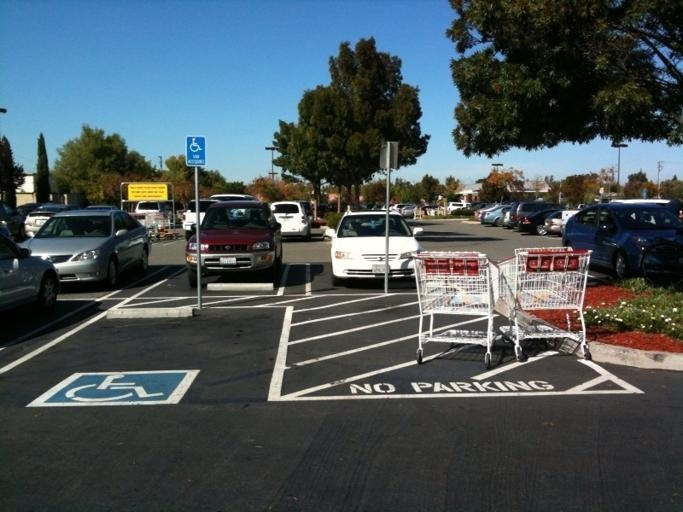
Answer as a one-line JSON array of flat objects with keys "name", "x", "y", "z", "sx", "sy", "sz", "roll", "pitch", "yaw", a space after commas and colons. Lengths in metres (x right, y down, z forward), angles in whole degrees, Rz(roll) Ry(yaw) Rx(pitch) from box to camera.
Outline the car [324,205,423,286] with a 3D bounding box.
[{"name": "car", "x": 0.775, "y": -0.202, "z": 13.892, "sx": 2.014, "sy": 1.734, "sz": 2.332, "roll": -1, "pitch": 8, "yaw": -6}]

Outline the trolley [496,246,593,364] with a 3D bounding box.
[{"name": "trolley", "x": 3.043, "y": 0.559, "z": 8.825, "sx": 0.936, "sy": 1.661, "sz": 1.715, "roll": -1, "pitch": 9, "yaw": 13}]

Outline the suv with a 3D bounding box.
[{"name": "suv", "x": -2.562, "y": -0.256, "z": 14.232, "sx": 1.947, "sy": 1.892, "sz": 2.573, "roll": 0, "pitch": 8, "yaw": 1}]

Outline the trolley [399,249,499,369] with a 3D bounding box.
[{"name": "trolley", "x": 1.685, "y": 0.693, "z": 8.574, "sx": 0.925, "sy": 1.605, "sz": 1.640, "roll": -1, "pitch": 0, "yaw": 21}]

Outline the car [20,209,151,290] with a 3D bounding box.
[{"name": "car", "x": -5.869, "y": -0.254, "z": 14.460, "sx": 1.336, "sy": 1.158, "sz": 3.183, "roll": 0, "pitch": 1, "yaw": 0}]
